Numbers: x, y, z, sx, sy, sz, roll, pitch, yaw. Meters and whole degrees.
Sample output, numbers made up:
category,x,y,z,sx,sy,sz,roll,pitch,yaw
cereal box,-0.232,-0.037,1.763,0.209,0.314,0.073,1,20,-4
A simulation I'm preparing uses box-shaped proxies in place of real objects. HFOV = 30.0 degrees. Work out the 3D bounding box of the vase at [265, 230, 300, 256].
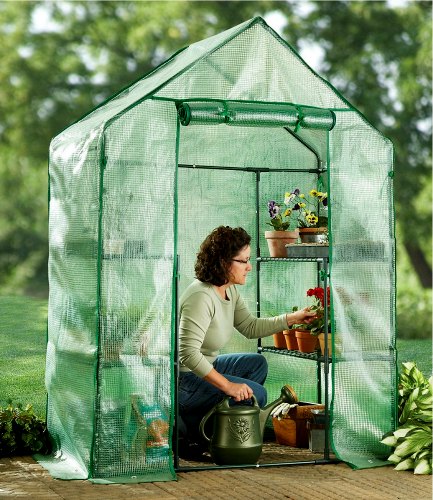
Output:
category,x,y,z,sx,sy,sz,roll,pitch,yaw
vase,0.414,-0.032,4.929,0.198,0.120,0.175,0,-7,2

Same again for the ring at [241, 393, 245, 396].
category,x,y,z,sx,sy,sz,roll,pitch,yaw
ring,0.147,0.780,4.372,0.015,0.015,0.017,-1,6,3

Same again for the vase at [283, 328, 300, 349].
category,x,y,z,sx,sy,sz,roll,pitch,yaw
vase,0.460,0.534,4.906,0.135,0.115,0.119,-2,-7,3

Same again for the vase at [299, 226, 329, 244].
category,x,y,z,sx,sy,sz,roll,pitch,yaw
vase,0.594,-0.087,4.860,0.138,0.071,0.122,1,-5,-2

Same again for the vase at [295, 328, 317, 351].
category,x,y,z,sx,sy,sz,roll,pitch,yaw
vase,0.526,0.528,4.731,0.151,0.106,0.134,-1,-5,-2

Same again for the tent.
category,x,y,z,sx,sy,sz,roll,pitch,yaw
tent,-0.053,-0.023,5.906,2.853,2.816,2.372,-1,1,-24

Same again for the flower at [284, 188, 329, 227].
category,x,y,z,sx,sy,sz,roll,pitch,yaw
flower,0.595,-0.258,5.155,0.317,0.253,0.252,-1,-1,15

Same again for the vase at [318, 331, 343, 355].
category,x,y,z,sx,sy,sz,roll,pitch,yaw
vase,0.656,0.521,4.578,0.145,0.092,0.144,-4,-6,38

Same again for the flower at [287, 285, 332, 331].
category,x,y,z,sx,sy,sz,roll,pitch,yaw
flower,0.617,0.323,4.734,0.290,0.259,0.300,-1,1,-37
